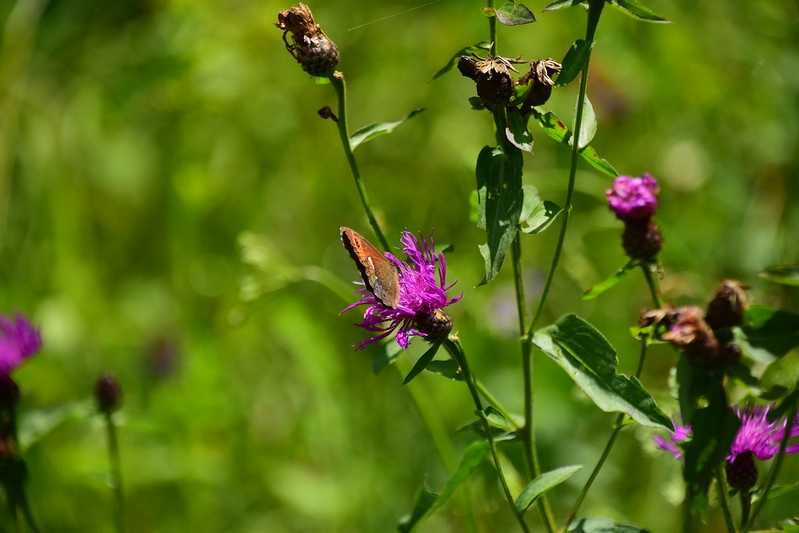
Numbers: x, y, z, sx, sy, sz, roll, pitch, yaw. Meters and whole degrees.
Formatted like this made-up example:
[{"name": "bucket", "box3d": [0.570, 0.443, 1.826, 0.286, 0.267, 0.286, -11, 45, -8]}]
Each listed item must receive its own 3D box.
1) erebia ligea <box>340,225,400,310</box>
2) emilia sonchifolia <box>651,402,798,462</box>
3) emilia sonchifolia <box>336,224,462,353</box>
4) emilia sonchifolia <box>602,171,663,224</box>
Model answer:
[{"name": "erebia ligea", "box3d": [-0.042, 0.009, 1.525, 0.083, 0.129, 0.095, -12, 34, -2]}, {"name": "emilia sonchifolia", "box3d": [0.594, 0.290, 1.598, 0.130, 0.061, 0.143, -13, -18, 41]}, {"name": "emilia sonchifolia", "box3d": [0.023, 0.026, 1.573, 0.196, 0.189, 0.195, -5, 18, 9]}, {"name": "emilia sonchifolia", "box3d": [0.409, -0.114, 1.601, 0.064, 0.089, 0.066, -17, 60, -2]}]
